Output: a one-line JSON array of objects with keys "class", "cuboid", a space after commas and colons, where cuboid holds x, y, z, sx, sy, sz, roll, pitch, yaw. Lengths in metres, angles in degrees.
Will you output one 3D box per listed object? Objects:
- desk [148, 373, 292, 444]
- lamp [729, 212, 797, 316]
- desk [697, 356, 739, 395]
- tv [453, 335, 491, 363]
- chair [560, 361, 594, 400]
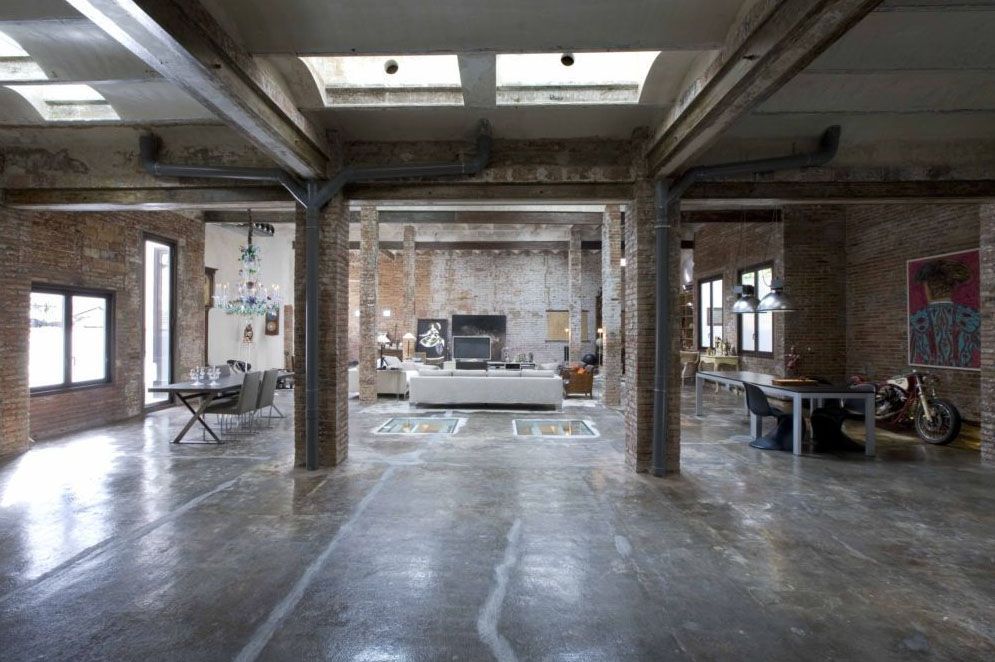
[{"class": "desk", "cuboid": [-4.536, 1.349, 10.980, 2.050, 1.199, 4.013, 0, -1, 2]}, {"class": "lamp", "cuboid": [4.926, -0.557, 12.144, 0.886, 0.522, 3.242, 0, -1, 19]}, {"class": "desk", "cuboid": [5.141, 1.014, 14.831, 0.631, 0.695, 1.026, 1, -3, -7]}, {"class": "tv", "cuboid": [-1.034, 0.751, 24.173, 1.214, 0.735, 0.076, 1, 3, 1]}, {"class": "chair", "cuboid": [1.947, 1.252, 15.609, 0.723, 0.778, 1.243, 1, -4, 4]}]
